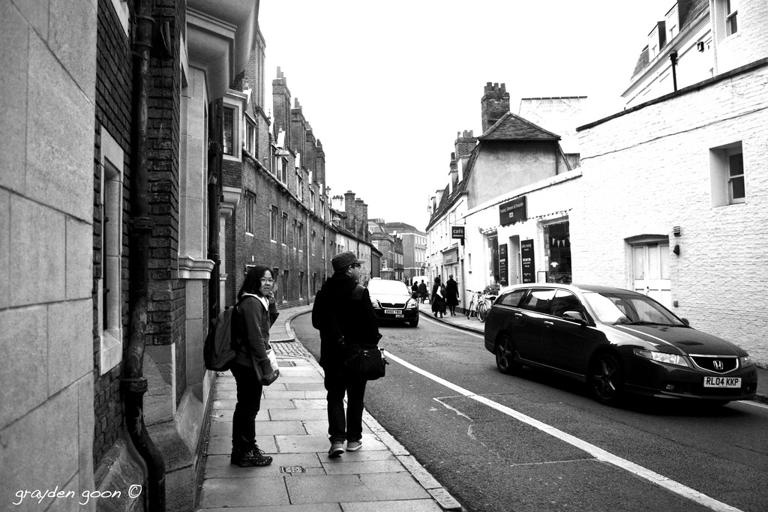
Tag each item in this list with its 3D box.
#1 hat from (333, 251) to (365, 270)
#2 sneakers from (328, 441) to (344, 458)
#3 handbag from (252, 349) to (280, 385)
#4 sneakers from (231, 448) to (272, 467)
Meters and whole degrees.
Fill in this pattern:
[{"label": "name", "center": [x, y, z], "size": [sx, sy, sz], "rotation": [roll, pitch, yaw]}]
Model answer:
[{"label": "hat", "center": [-0.437, 0.045, 8.317], "size": [0.312, 0.178, 0.209], "rotation": [-15, 8, -32]}, {"label": "sneakers", "center": [-0.554, 2.185, 7.976], "size": [0.177, 0.151, 0.163], "rotation": [0, 3, -12]}, {"label": "handbag", "center": [-1.288, 1.246, 7.624], "size": [0.142, 0.302, 0.290], "rotation": [-5, -7, 5]}, {"label": "sneakers", "center": [-1.427, 2.158, 7.694], "size": [0.475, 0.263, 0.181], "rotation": [-1, -1, -6]}]
